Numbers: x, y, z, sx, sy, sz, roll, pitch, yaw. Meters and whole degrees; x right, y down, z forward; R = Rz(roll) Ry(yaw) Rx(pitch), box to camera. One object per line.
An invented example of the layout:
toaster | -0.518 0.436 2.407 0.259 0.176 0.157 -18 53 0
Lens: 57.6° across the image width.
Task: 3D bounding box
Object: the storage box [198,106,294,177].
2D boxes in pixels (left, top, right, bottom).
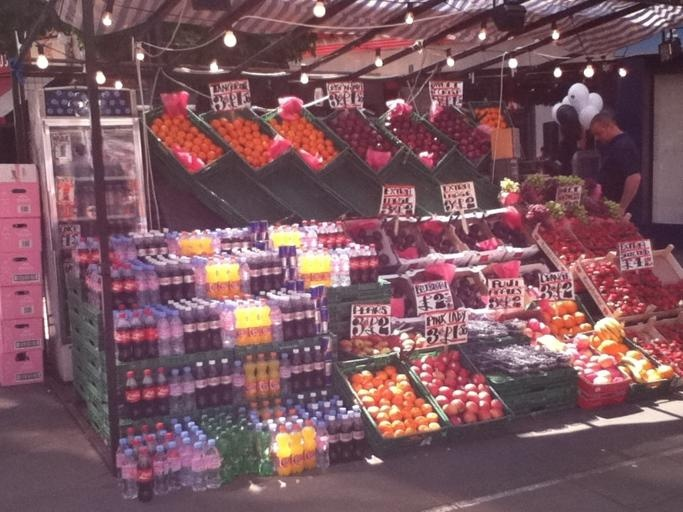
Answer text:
storage box | -1.289 -1.599 8.419 0.754 1.130 0.341 -30 -18 -33

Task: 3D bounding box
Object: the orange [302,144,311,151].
orange | -0.474 -1.505 8.653 0.132 0.099 0.066 -3 12 -6

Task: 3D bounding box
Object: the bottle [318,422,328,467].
bottle | -0.152 1.629 5.349 0.102 0.326 0.156 -1 12 0

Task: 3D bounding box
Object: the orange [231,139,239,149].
orange | -1.421 -1.488 8.315 0.093 0.096 0.099 17 33 12

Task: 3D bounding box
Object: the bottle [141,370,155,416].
bottle | -1.649 1.141 5.268 0.130 0.397 0.091 3 12 18

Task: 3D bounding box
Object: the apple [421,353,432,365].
apple | 0.869 1.026 6.317 0.068 0.074 0.099 -11 31 18

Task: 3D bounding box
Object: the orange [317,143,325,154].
orange | -0.275 -1.499 8.672 0.084 0.110 0.089 -3 -28 2

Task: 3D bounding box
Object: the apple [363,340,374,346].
apple | 0.286 0.883 6.419 0.062 0.066 0.078 8 32 -14

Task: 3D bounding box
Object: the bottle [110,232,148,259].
bottle | -2.112 -0.104 6.226 0.353 0.376 0.220 0 3 4

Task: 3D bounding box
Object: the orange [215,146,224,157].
orange | -1.605 -1.381 8.215 0.097 0.128 0.101 -2 -7 19

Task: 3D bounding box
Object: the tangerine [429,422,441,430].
tangerine | 0.845 1.523 5.614 0.119 0.055 0.061 -6 14 -21

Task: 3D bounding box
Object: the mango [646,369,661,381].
mango | 3.288 1.244 6.535 0.102 0.060 0.107 -10 19 -7

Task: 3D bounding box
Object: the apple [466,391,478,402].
apple | 1.254 1.325 5.919 0.070 0.089 0.073 0 8 1

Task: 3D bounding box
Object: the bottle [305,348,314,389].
bottle | -0.295 1.019 5.725 0.060 0.369 0.121 7 14 36

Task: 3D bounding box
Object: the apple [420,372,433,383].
apple | 0.834 1.176 6.066 0.084 0.111 0.089 -1 8 2

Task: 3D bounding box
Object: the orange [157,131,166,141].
orange | -2.312 -1.541 8.029 0.111 0.108 0.133 -7 14 -22

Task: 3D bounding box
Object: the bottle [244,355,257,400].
bottle | -0.808 1.070 5.546 0.117 0.390 0.094 -5 12 -19

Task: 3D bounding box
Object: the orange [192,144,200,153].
orange | -1.891 -1.397 8.097 0.085 0.112 0.090 -1 3 2

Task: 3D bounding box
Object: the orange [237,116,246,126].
orange | -1.377 -1.844 8.515 0.111 0.146 0.118 2 6 6

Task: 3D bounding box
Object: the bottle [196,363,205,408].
bottle | -1.222 1.102 5.399 0.088 0.397 0.086 -1 12 0

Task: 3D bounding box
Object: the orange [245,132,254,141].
orange | -1.244 -1.620 8.437 0.091 0.045 0.095 30 30 -8

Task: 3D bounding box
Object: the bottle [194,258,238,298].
bottle | -1.150 0.168 5.882 0.356 0.374 0.362 1 2 44

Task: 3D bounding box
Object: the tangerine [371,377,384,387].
tangerine | 0.351 1.202 5.990 0.075 0.099 0.079 -1 4 -3

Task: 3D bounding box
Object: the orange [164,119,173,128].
orange | -2.272 -1.738 8.187 0.094 0.123 0.098 -1 2 -18

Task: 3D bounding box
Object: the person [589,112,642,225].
person | 3.836 -1.305 8.693 0.667 1.407 0.468 6 14 29

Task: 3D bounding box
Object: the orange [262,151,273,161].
orange | -0.972 -1.337 8.392 0.107 0.138 0.113 1 28 37

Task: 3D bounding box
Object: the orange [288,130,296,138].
orange | -0.682 -1.697 8.666 0.097 0.118 0.096 -4 11 -44

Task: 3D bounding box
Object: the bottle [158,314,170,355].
bottle | -1.531 0.681 5.370 0.114 0.326 0.089 -5 12 -17

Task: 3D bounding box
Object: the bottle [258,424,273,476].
bottle | -0.637 1.599 5.232 0.135 0.419 0.187 -3 12 -8

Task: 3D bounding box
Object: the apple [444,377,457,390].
apple | 1.091 1.236 6.132 0.105 0.138 0.111 3 2 0

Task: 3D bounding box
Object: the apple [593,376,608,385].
apple | 2.648 1.251 6.326 0.187 0.047 0.097 -4 14 -9

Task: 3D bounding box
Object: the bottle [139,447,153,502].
bottle | -1.554 1.700 4.911 0.120 0.407 0.150 -3 12 -7

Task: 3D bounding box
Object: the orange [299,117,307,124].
orange | -0.538 -1.926 8.863 0.081 0.104 0.085 0 8 3

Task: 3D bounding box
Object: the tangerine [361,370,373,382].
tangerine | 0.253 1.142 6.010 0.068 0.073 0.072 -1 5 1

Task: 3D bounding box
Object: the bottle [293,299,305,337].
bottle | -0.387 0.566 5.743 0.089 0.348 0.077 -2 12 -5

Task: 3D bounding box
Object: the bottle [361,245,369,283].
bottle | 0.259 0.073 6.517 0.058 0.315 0.124 2 12 17

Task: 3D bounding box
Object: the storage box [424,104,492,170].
storage box | 1.861 -1.720 9.924 0.713 1.170 0.400 -28 -22 -23

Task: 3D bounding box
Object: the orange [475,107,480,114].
orange | 2.203 -2.334 10.040 0.082 0.083 0.045 45 11 31

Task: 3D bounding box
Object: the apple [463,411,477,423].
apple | 1.199 1.483 5.755 0.073 0.078 0.099 6 10 -26

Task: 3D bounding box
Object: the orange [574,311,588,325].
orange | 2.792 0.709 7.276 0.121 0.161 0.128 -8 0 -4

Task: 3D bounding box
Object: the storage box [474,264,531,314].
storage box | 1.876 0.345 6.985 0.373 0.542 0.797 3 14 20

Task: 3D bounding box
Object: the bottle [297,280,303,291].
bottle | -0.382 0.273 5.860 0.074 0.108 0.074 0 -4 0

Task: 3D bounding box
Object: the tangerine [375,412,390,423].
tangerine | 0.370 1.448 5.607 0.073 0.092 0.082 -2 4 -9

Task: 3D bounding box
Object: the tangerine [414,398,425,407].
tangerine | 0.740 1.359 5.831 0.063 0.079 0.065 -28 12 -2

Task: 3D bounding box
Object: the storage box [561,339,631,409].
storage box | 2.651 1.225 6.610 0.442 0.260 0.692 -9 23 -6

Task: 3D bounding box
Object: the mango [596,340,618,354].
mango | 2.977 1.001 6.933 0.151 0.168 0.159 29 -30 -15

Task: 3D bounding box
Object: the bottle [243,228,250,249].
bottle | -0.977 -0.189 6.511 0.058 0.188 0.143 0 12 6

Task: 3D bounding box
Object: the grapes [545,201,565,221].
grapes | 2.806 -0.620 8.162 0.197 0.129 0.246 34 22 -10

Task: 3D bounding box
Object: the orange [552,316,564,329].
orange | 2.496 0.757 7.152 0.113 0.145 0.119 -2 3 0

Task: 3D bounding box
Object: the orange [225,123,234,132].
orange | -1.495 -1.735 8.409 0.093 0.100 0.096 1 -7 -21

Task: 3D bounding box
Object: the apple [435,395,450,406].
apple | 0.952 1.347 5.853 0.079 0.105 0.083 0 4 1
